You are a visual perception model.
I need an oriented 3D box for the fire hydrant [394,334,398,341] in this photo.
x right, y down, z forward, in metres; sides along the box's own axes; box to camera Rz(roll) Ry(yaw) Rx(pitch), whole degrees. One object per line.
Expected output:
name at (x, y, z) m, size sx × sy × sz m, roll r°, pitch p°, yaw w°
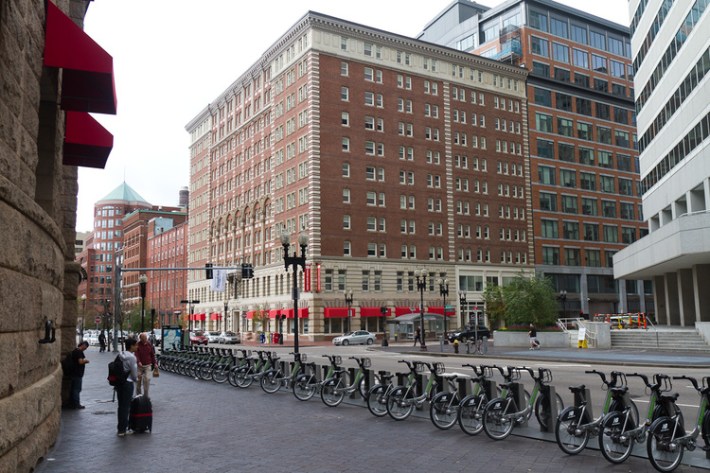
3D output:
fire hydrant at (4.652, 11.556, 69.193) m, size 0.528 × 0.992 × 0.538 m, roll 0°, pitch -3°, yaw -1°

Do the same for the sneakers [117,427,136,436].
sneakers at (-5.870, 5.033, 15.534) m, size 0.162 × 0.188 × 0.434 m, roll 3°, pitch 3°, yaw 35°

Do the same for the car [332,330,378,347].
car at (-0.194, 10.610, 62.783) m, size 3.765 × 1.190 × 1.702 m, roll 5°, pitch -9°, yaw -26°

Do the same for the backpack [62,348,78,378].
backpack at (-9.045, 3.977, 19.133) m, size 0.369 × 0.797 × 0.833 m, roll 5°, pitch -12°, yaw -31°

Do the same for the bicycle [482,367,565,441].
bicycle at (4.247, 4.291, 15.589) m, size 2.618 × 1.613 × 1.432 m, roll -3°, pitch -6°, yaw -38°
